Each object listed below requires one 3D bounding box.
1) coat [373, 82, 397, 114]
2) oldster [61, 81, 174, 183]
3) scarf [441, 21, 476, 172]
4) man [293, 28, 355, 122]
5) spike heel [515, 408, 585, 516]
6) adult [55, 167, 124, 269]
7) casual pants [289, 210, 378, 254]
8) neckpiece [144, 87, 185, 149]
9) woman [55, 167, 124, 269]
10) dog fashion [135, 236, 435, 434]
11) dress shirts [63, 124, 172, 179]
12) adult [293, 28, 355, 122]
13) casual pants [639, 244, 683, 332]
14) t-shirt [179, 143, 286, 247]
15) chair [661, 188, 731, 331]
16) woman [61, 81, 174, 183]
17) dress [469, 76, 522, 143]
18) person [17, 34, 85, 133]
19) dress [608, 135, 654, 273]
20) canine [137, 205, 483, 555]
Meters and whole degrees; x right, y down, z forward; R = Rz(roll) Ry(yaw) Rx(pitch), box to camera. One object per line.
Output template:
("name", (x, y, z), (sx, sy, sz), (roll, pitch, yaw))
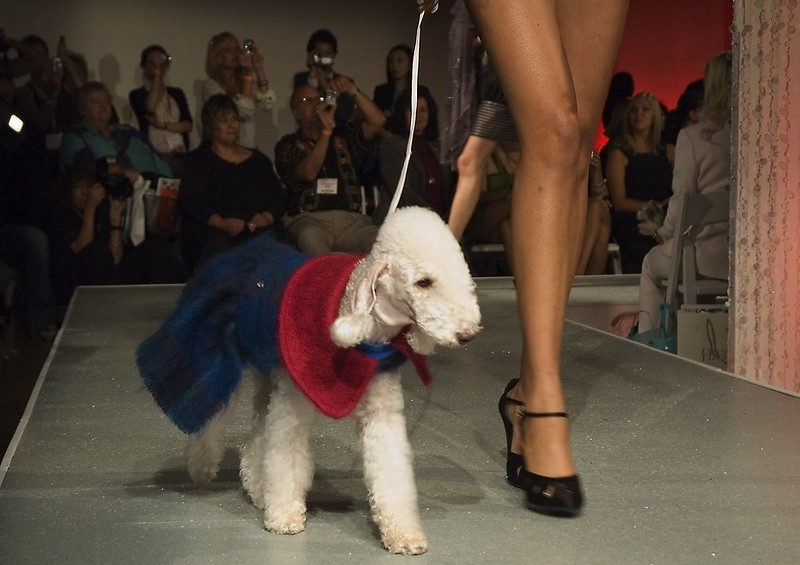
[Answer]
("coat", (-0.140, -1.455, 5.149), (0.225, 0.227, 0.069), (3, -4, 23))
("oldster", (-2.136, -1.048, 4.710), (0.416, 0.710, 0.769), (6, 19, 42))
("scarf", (0.187, -0.622, 2.220), (0.061, 0.471, 0.231), (-5, 11, -22))
("man", (-0.602, -1.625, 5.017), (0.434, 0.766, 0.281), (-5, 8, -15))
("spike heel", (0.344, 0.460, 1.494), (0.144, 0.072, 0.153), (1, 10, 10))
("adult", (-2.202, -0.436, 4.608), (0.448, 0.720, 0.150), (-5, 11, -26))
("casual pants", (-0.567, -0.446, 4.867), (0.578, 0.192, 0.674), (-15, 1, 25))
("neckpiece", (-1.720, -1.160, 4.703), (0.235, 0.405, 0.140), (-3, 2, -16))
("woman", (-2.202, -0.436, 4.608), (0.448, 0.720, 0.150), (-5, 11, -26))
("dog fashion", (-0.329, 0.122, 1.600), (0.489, 0.290, 0.552), (3, -2, -3))
("dress shirts", (-2.097, -0.924, 4.764), (0.709, 0.522, 0.353), (-5, -20, -39))
("adult", (-0.633, -1.625, 5.154), (0.434, 0.767, 0.281), (-5, 8, -15))
("casual pants", (1.431, 0.060, 3.726), (0.099, 0.394, 0.107), (2, 11, -30))
("t-shirt", (-1.233, -0.634, 4.837), (0.786, 0.738, 0.523), (-6, 2, -25))
("chair", (1.515, -0.111, 3.331), (0.282, 0.696, 0.245), (4, 11, 23))
("woman", (-2.149, -1.045, 4.710), (0.404, 0.694, 0.760), (8, 22, 37))
("dress", (0.265, -0.484, 1.958), (0.102, 0.147, 0.167), (14, 18, 35))
("person", (-2.460, -1.325, 4.538), (0.242, 0.642, 0.394), (-12, -4, 42))
("dress", (1.887, -0.588, 5.411), (0.524, 0.913, 0.317), (1, -4, -26))
("canine", (-0.226, 0.180, 1.593), (0.972, 0.735, 0.461), (11, 12, 36))
